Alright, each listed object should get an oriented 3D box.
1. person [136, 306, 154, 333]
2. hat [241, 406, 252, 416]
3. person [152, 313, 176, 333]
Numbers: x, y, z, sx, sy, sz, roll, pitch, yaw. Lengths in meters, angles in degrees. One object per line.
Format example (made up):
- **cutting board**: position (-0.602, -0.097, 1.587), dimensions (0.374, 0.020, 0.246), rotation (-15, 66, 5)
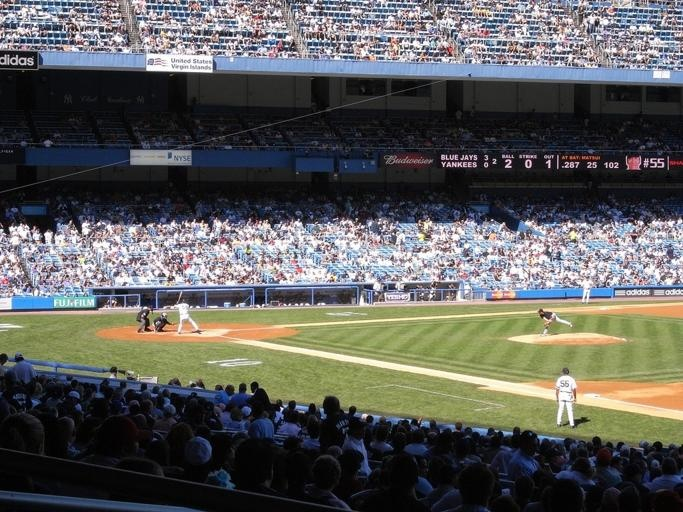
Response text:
- **person**: position (-10.187, 3.132, 66.468), dimensions (0.718, 1.351, 2.192), rotation (-3, 8, -9)
- **hat**: position (-3.563, 5.760, 48.175), dimensions (0.359, 0.249, 0.388), rotation (0, -10, 1)
- **person**: position (-9.376, 3.351, 66.536), dimensions (1.254, 1.219, 0.736), rotation (1, 6, 25)
